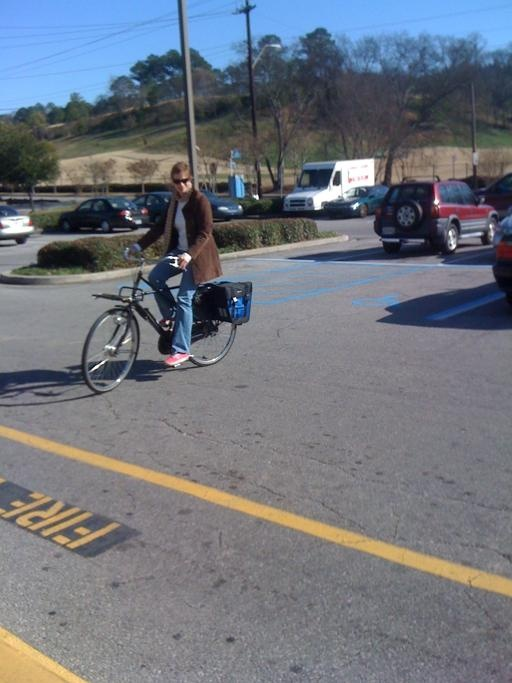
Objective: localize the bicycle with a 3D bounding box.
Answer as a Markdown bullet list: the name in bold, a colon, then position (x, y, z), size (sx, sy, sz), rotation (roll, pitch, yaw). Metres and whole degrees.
- **bicycle**: position (-0.837, -0.227, 5.887), size (0.661, 1.117, 1.780), rotation (14, 17, 36)

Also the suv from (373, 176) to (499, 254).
- **suv**: position (4.872, -3.085, 15.949), size (3.915, 1.697, 1.536), rotation (-7, 12, -24)

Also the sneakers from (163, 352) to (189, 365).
- **sneakers**: position (-0.706, 0.154, 5.829), size (0.091, 0.113, 0.276), rotation (-1, 0, 29)

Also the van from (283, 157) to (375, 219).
- **van**: position (3.492, -7.435, 31.335), size (4.526, 2.641, 2.471), rotation (-14, 17, -42)

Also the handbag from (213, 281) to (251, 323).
- **handbag**: position (-0.220, -0.385, 6.190), size (0.349, 0.392, 0.335), rotation (11, 20, 37)
